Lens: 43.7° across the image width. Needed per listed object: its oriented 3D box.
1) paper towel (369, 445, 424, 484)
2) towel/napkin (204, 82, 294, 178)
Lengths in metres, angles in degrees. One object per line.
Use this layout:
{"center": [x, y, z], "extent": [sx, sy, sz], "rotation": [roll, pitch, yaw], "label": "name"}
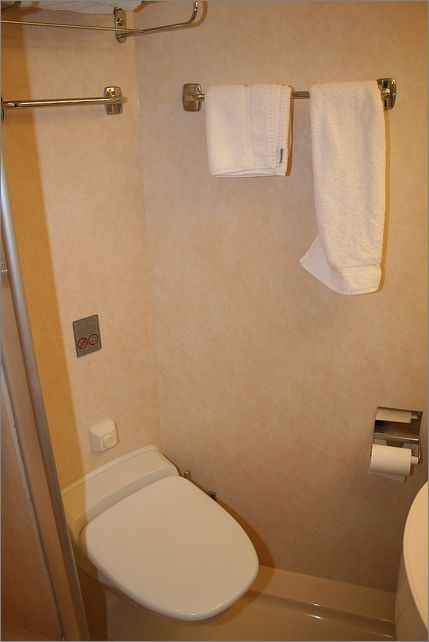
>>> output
{"center": [0.492, 0.382, 1.456], "extent": [0.133, 0.074, 0.077], "rotation": [9, -23, 17], "label": "paper towel"}
{"center": [0.078, -0.447, 1.255], "extent": [0.207, 0.203, 0.047], "rotation": [6, 19, 24], "label": "towel/napkin"}
